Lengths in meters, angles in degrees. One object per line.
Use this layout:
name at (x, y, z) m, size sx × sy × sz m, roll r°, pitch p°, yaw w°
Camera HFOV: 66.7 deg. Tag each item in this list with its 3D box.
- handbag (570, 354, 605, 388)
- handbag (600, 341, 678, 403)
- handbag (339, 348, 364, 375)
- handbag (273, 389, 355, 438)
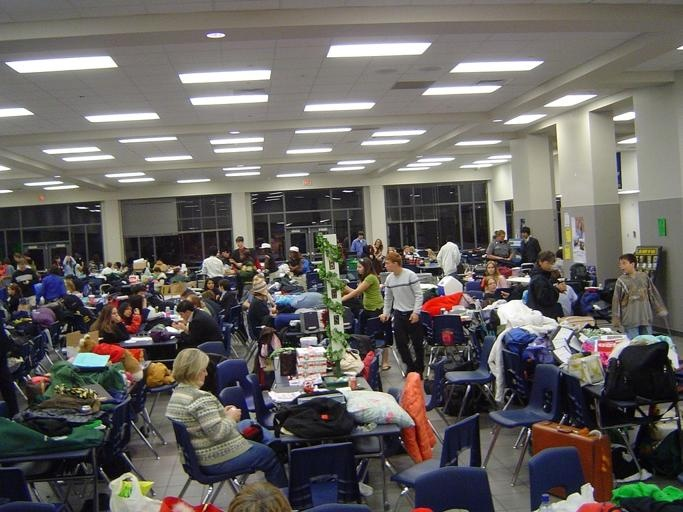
handbag at (2.214, 1.046, 4.688) m, size 0.283 × 0.218 × 0.136 m, roll -4°, pitch -11°, yaw -17°
handbag at (2.599, 1.026, 4.753) m, size 0.626 × 0.494 × 0.560 m, roll -1°, pitch -3°, yaw 2°
handbag at (0.099, 1.036, 5.082) m, size 0.252 × 0.103 × 0.281 m, roll 1°, pitch 7°, yaw -4°
handbag at (-0.203, 1.250, 4.081) m, size 0.503 × 0.142 × 0.465 m, roll 1°, pitch 2°, yaw 2°
